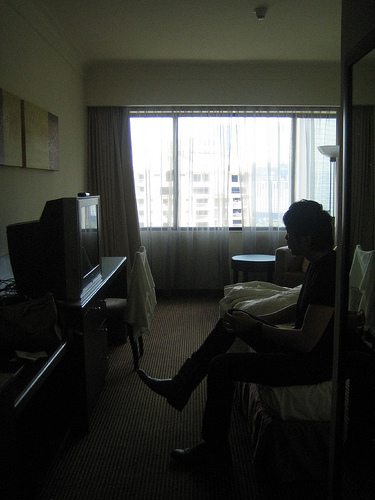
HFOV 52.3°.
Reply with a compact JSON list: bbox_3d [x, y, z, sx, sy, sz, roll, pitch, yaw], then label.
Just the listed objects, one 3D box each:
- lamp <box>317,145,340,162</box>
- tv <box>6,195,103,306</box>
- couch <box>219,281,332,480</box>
[{"bbox_3d":[1.581,-1.074,4.274,0.196,0.144,0.996,0,5,20],"label":"lamp"},{"bbox_3d":[-0.682,-0.023,2.136,0.344,0.753,0.624,1,7,4],"label":"tv"},{"bbox_3d":[0.437,0.532,2.258,0.532,0.679,1.663,0,5,9],"label":"couch"}]
